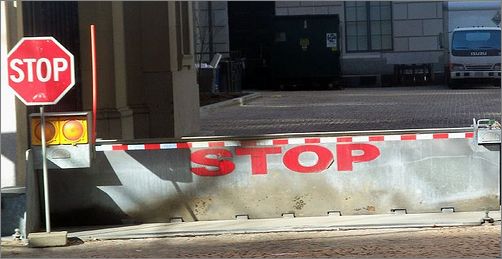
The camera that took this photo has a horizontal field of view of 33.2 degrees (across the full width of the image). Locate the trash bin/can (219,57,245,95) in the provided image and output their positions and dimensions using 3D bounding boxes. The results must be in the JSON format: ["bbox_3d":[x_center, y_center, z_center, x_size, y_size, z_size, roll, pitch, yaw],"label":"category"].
[{"bbox_3d":[-0.942,-2.553,40.078,0.744,1.536,1.764,-1,6,20],"label":"trash bin/can"}]

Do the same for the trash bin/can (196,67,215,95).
[{"bbox_3d":[-1.998,-2.238,37.839,0.798,1.092,0.471,-3,6,-3],"label":"trash bin/can"}]
